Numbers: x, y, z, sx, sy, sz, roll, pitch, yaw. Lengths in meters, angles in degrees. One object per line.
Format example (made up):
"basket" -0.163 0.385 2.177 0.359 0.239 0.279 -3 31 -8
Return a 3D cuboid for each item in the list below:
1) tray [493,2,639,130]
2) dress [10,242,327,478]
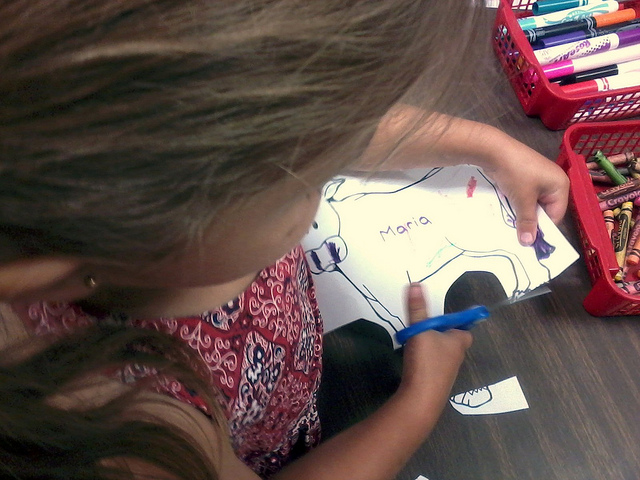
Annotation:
"tray" 0.329 -0.236 0.871 0.208 0.071 0.166 -19 77 -10
"dress" -0.126 0.075 0.672 0.263 0.234 0.350 -13 42 -22
